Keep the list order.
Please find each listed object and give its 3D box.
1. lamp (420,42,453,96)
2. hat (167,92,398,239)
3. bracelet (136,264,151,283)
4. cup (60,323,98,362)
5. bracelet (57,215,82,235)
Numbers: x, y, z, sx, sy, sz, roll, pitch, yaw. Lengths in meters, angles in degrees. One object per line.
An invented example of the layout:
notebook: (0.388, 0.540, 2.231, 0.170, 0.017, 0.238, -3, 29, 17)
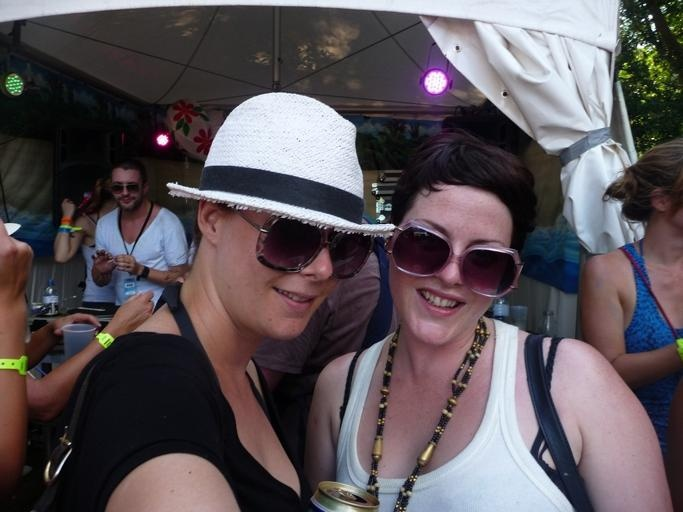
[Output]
lamp: (1.216, -2.397, 7.030, 0.408, 0.705, 0.569, 8, 1, 7)
hat: (-0.272, -0.279, 2.183, 0.560, 0.339, 0.581, 8, 2, 31)
bracelet: (-2.031, 0.169, 5.691, 0.080, 0.118, 0.144, 25, -41, -36)
cup: (-1.666, 0.538, 3.547, 0.202, 0.249, 0.255, 3, 2, -23)
bracelet: (-3.444, -0.399, 6.958, 0.177, 0.227, 0.270, 13, -2, -27)
